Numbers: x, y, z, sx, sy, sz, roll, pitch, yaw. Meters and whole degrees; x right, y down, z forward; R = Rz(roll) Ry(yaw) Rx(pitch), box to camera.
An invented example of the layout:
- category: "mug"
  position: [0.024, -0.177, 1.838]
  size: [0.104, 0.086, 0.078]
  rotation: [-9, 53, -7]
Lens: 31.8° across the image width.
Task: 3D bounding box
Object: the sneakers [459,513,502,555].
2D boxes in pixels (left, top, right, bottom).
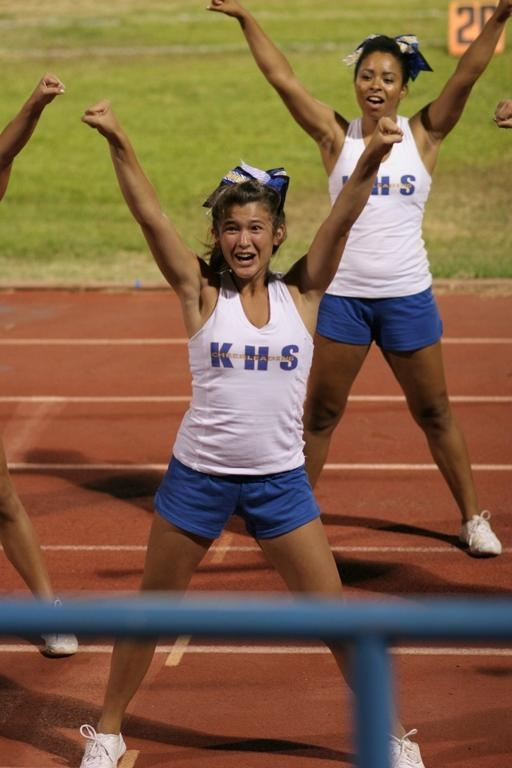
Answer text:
- category: "sneakers"
  position: [1.033, 0.691, 4.096]
  size: [0.108, 0.105, 0.260]
  rotation: [-3, 4, -6]

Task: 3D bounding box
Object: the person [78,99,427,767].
- category: "person"
  position: [0.007, -0.087, 2.370]
  size: [0.770, 0.886, 0.296]
  rotation: [-5, 4, 6]
